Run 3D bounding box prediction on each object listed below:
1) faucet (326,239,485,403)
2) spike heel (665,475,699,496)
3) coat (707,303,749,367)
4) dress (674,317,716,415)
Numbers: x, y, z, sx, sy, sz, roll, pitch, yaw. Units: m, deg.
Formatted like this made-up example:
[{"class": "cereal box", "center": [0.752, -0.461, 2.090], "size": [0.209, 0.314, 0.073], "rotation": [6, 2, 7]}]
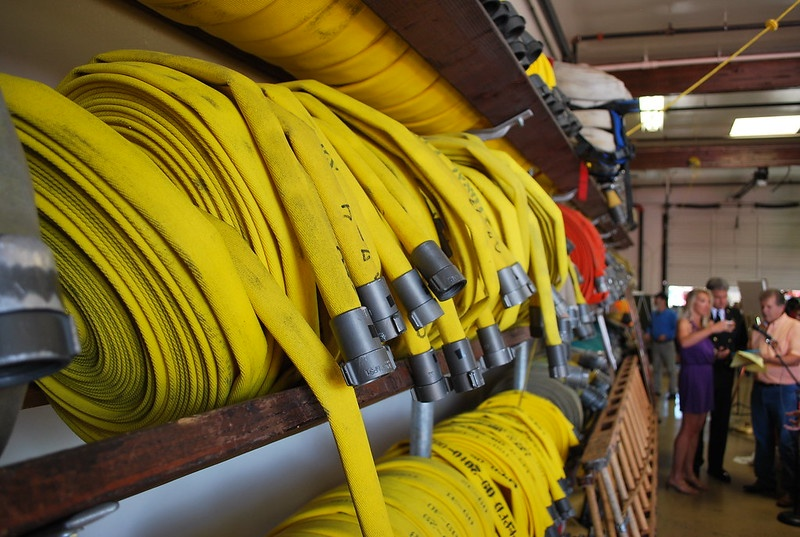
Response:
[{"class": "faucet", "center": [-0.027, 0.099, 0.863], "size": [0.248, 0.241, 0.086], "rotation": [-10, -14, -47]}, {"class": "spike heel", "center": [2.408, 1.853, 4.701], "size": [0.246, 0.193, 0.108], "rotation": [-3, 19, 31]}, {"class": "coat", "center": [3.199, 0.651, 5.299], "size": [0.511, 0.574, 0.206], "rotation": [2, -7, -39]}, {"class": "dress", "center": [2.586, 0.887, 4.802], "size": [0.283, 0.736, 0.328], "rotation": [-5, -2, 42]}]
